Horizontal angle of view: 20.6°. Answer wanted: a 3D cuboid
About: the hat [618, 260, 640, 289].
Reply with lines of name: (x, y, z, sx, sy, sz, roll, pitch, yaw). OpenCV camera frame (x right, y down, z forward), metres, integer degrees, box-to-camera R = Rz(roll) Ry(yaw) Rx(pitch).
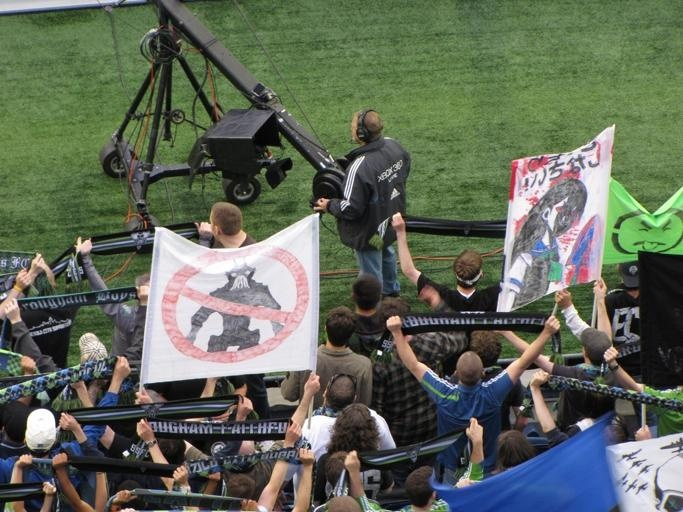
hat: (2.747, 0.147, 17.864, 0.232, 0.159, 0.336, -5, 35, 8)

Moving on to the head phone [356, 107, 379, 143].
head phone: (0.265, -1.309, 18.676, 0.283, 0.350, 0.166, -5, 17, 0)

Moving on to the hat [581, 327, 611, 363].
hat: (2.244, 0.777, 16.624, 0.254, 0.296, 0.166, -13, -10, -14)

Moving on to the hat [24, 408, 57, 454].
hat: (-2.585, 1.458, 16.020, 0.289, 0.341, 0.288, 1, -8, -14)
